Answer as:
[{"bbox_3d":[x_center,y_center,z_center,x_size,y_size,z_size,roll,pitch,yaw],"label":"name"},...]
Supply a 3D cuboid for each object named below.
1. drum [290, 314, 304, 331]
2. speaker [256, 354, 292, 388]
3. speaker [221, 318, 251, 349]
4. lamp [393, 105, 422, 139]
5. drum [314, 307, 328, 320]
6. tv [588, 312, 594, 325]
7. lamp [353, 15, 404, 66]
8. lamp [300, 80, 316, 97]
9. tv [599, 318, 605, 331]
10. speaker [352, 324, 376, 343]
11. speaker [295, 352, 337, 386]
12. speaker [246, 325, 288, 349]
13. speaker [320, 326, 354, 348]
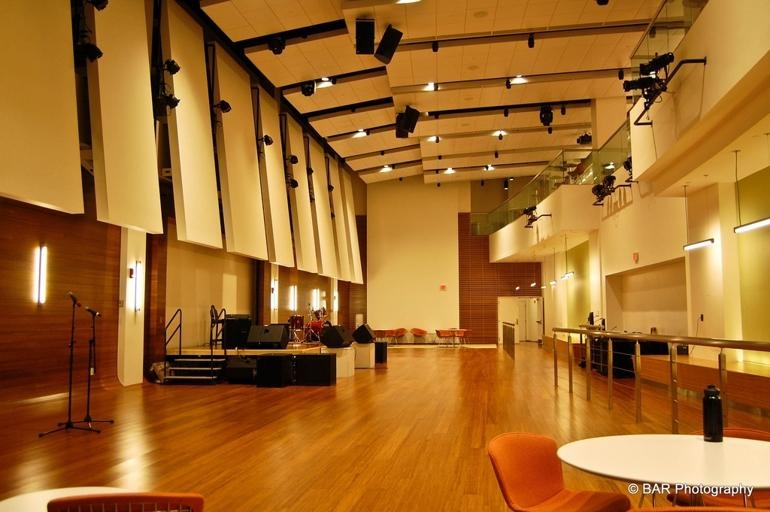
[{"bbox_3d":[-2.697,2.075,17.274,0.405,0.459,0.419,0,-2,-12],"label":"drum"},{"bbox_3d":[-2.447,2.509,12.350,0.644,0.687,0.675,0,-5,-3],"label":"speaker"},{"bbox_3d":[-3.619,1.876,13.846,0.656,0.821,0.565,0,-9,-2],"label":"speaker"},{"bbox_3d":[0.664,-3.988,16.413,0.475,0.942,0.678,6,-31,39],"label":"lamp"},{"bbox_3d":[-2.322,2.133,20.534,0.312,0.407,0.714,-3,-10,-4],"label":"drum"},{"bbox_3d":[5.668,1.728,15.381,0.128,0.381,0.381,0,-7,8],"label":"tv"},{"bbox_3d":[-0.144,-4.545,11.739,0.933,0.882,0.471,0,-9,0],"label":"lamp"},{"bbox_3d":[-2.046,-4.522,15.045,0.400,0.329,0.266,0,-10,-1],"label":"lamp"},{"bbox_3d":[5.763,1.796,14.785,0.141,0.339,1.139,-4,-11,21],"label":"tv"},{"bbox_3d":[-0.585,2.212,15.456,0.515,0.541,0.537,-6,-10,-6],"label":"speaker"},{"bbox_3d":[-1.539,2.469,12.536,1.066,0.832,0.606,0,-9,4],"label":"speaker"},{"bbox_3d":[-2.843,1.955,13.569,0.922,0.571,0.434,3,-10,-19],"label":"speaker"},{"bbox_3d":[-1.173,1.934,13.334,0.542,0.459,0.631,4,-4,14],"label":"speaker"}]
